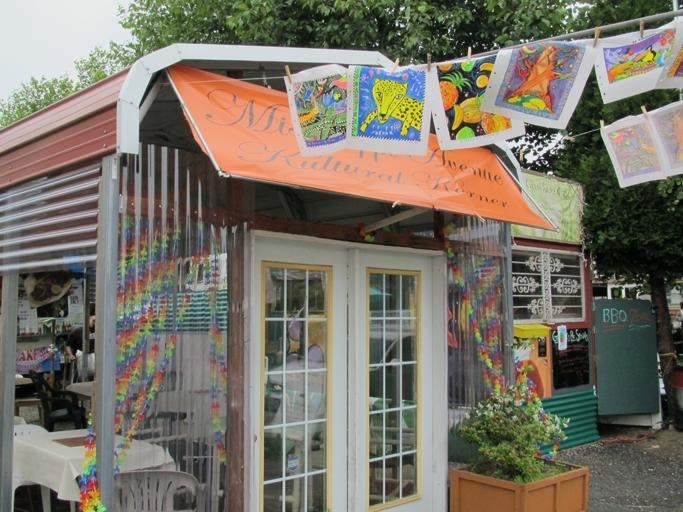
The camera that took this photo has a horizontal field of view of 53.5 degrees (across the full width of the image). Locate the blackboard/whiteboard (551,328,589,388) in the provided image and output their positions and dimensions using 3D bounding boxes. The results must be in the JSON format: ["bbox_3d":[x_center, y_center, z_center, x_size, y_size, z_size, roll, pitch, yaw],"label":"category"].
[{"bbox_3d":[3.516,1.589,10.495,0.771,0.831,0.437,9,-13,-41],"label":"blackboard/whiteboard"}]

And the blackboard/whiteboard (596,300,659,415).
[{"bbox_3d":[4.787,1.697,11.380,1.487,1.898,0.248,3,-11,-30],"label":"blackboard/whiteboard"}]

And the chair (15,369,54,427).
[{"bbox_3d":[-4.431,2.113,9.577,0.508,0.748,0.593,-4,-31,-2],"label":"chair"}]

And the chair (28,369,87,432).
[{"bbox_3d":[-3.590,1.960,8.652,0.645,0.975,0.547,-7,-1,-32],"label":"chair"}]

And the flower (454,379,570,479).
[{"bbox_3d":[1.787,1.656,6.969,0.800,1.017,0.937,0,-2,40],"label":"flower"}]
